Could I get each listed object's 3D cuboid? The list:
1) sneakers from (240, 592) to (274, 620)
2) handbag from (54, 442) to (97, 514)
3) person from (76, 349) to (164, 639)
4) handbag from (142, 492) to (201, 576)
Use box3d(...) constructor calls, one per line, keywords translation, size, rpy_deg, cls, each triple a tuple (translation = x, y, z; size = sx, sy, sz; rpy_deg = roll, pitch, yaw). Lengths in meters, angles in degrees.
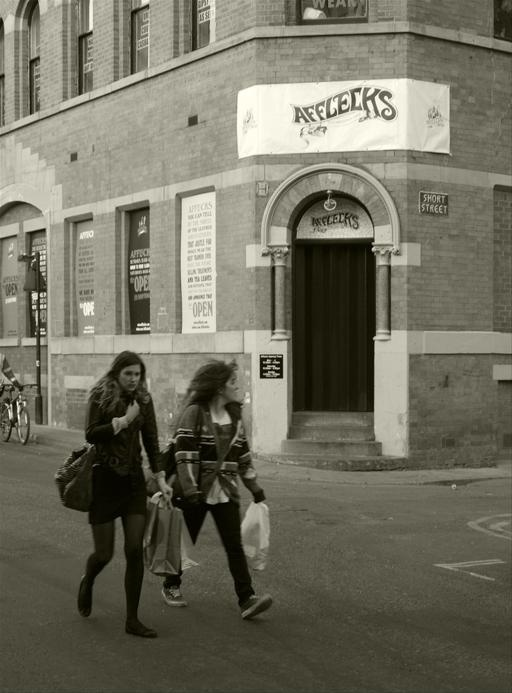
box3d(translation=(-0.003, 1.626, 6.114), size=(0.188, 0.160, 0.237), rpy_deg=(1, 0, -3), cls="sneakers")
box3d(translation=(-1.135, 0.763, 6.038), size=(0.235, 0.666, 0.385), rpy_deg=(7, -4, -15), cls="handbag")
box3d(translation=(-0.803, 0.871, 5.954), size=(0.555, 1.665, 0.696), rpy_deg=(1, -1, -12), cls="person")
box3d(translation=(-0.544, 1.175, 6.184), size=(0.371, 0.686, 0.245), rpy_deg=(-1, -6, -31), cls="handbag")
